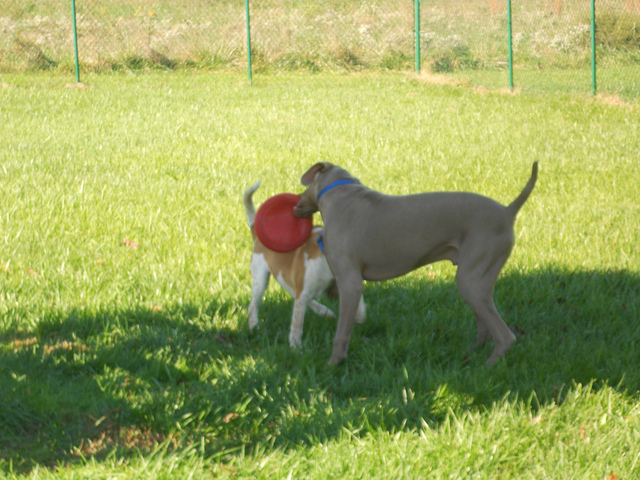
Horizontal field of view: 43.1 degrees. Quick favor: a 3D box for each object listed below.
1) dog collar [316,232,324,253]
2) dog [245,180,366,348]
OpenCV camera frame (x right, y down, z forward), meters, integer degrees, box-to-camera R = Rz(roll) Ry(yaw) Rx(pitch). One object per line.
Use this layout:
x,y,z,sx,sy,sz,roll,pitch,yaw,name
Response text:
0.000,0.015,7.875,0.042,0.155,0.097,3,-13,-8,dog collar
-0.200,0.140,8.199,0.744,1.756,1.800,-19,13,-36,dog
